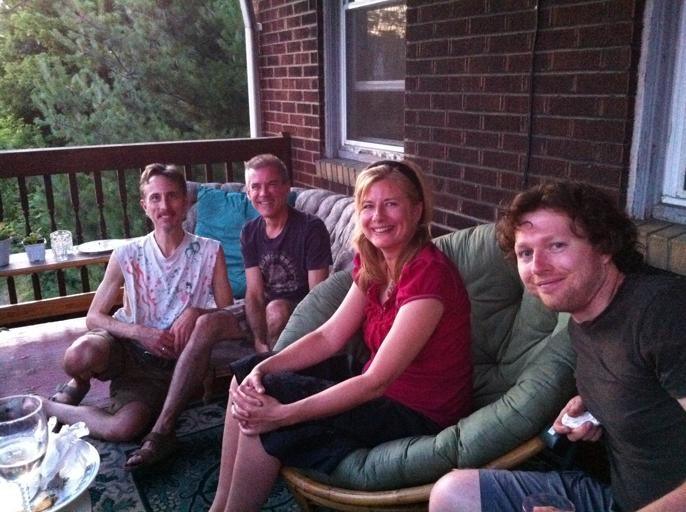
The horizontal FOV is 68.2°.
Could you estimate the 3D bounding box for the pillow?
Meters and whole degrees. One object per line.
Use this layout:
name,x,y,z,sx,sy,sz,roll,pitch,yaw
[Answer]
pillow,-0.813,-0.094,3.938,0.670,0.821,0.250,11,0,16

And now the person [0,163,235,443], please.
person,-1.025,0.232,2.711,0.806,1.432,0.929,7,4,36
